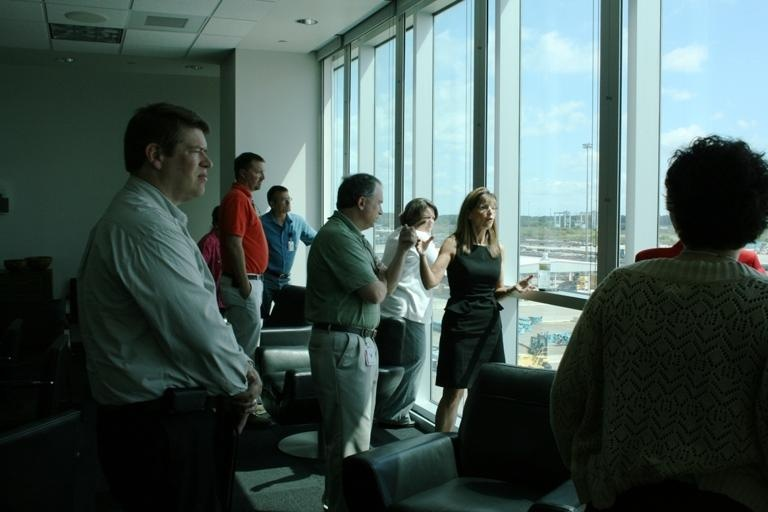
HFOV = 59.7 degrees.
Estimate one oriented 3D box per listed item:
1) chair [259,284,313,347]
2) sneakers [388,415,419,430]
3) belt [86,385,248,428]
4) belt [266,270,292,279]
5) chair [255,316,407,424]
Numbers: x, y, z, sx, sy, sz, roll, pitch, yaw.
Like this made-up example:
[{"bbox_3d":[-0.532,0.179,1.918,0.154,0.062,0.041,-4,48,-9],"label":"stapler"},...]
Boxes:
[{"bbox_3d":[-0.832,0.517,5.639,0.459,0.649,0.548,1,-6,-14],"label":"chair"},{"bbox_3d":[0.151,1.379,5.593,0.234,0.113,0.102,-4,-1,-13],"label":"sneakers"},{"bbox_3d":[-0.840,0.628,2.827,0.356,0.097,0.272,2,-5,-3],"label":"belt"},{"bbox_3d":[-1.058,0.179,6.486,0.227,0.077,0.068,0,4,-13],"label":"belt"},{"bbox_3d":[-0.470,0.868,4.933,0.837,0.832,0.806,14,-15,-37],"label":"chair"}]
